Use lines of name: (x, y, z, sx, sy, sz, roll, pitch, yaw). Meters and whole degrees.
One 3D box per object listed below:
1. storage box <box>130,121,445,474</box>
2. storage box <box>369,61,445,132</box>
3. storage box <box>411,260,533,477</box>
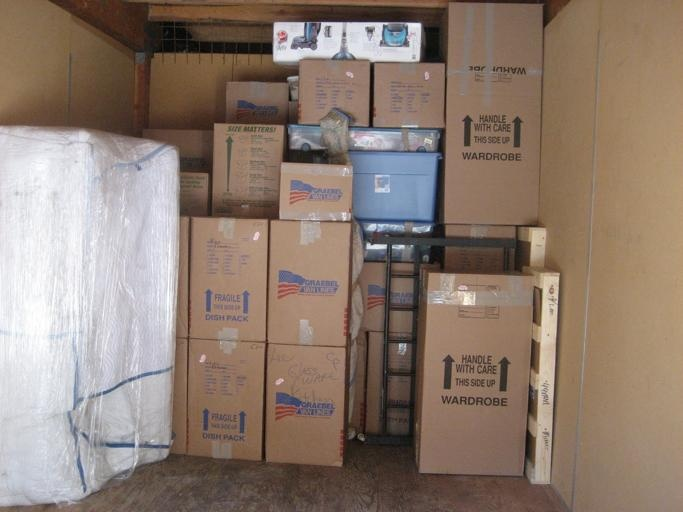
storage box: (-0.435, 0.208, 4.438, 1.197, 2.014, 0.432, 2, 4, 3)
storage box: (0.412, -0.987, 4.437, 0.408, 0.426, 0.104, 1, 1, 4)
storage box: (0.782, 0.724, 5.015, 0.916, 1.941, 1.015, 1, -1, 6)
